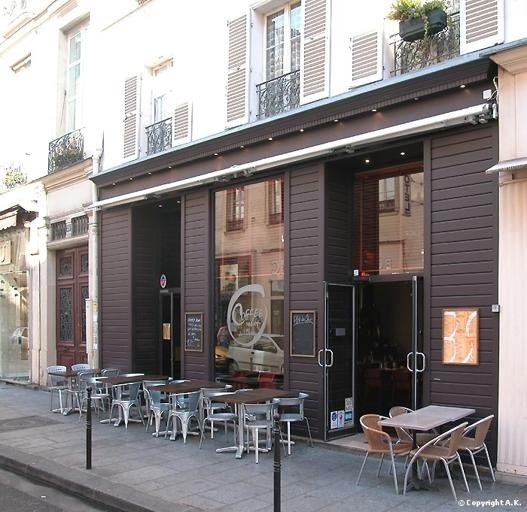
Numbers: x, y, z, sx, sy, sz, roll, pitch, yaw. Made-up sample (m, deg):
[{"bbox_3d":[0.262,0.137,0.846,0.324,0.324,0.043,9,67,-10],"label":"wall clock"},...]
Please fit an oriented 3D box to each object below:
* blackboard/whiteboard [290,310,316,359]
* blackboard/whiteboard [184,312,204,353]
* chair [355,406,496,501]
[{"bbox_3d":[0.643,1.239,10.129,0.053,1.058,0.664,3,-5,-37],"label":"blackboard/whiteboard"},{"bbox_3d":[-1.296,1.414,12.098,0.053,0.873,0.652,5,-8,-33],"label":"blackboard/whiteboard"},{"bbox_3d":[1.953,2.292,7.752,1.063,0.655,1.092,-8,-8,42],"label":"chair"}]
